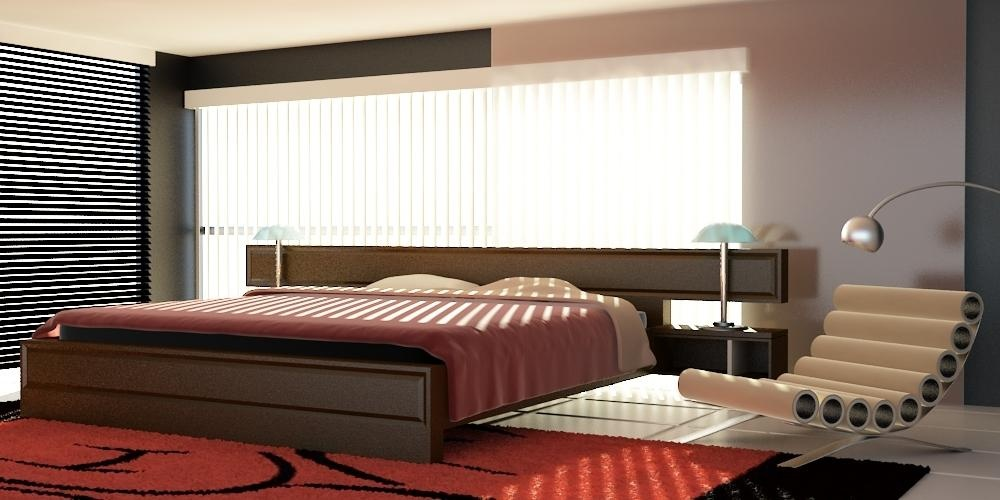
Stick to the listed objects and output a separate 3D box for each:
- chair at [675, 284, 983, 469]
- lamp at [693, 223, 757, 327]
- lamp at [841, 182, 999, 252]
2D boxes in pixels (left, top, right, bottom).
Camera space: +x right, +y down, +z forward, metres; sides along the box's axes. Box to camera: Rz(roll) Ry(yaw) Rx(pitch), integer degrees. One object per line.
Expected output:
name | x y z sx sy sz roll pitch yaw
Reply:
chair | 2.815 0.903 5.400 2.227 1.116 1.415 -1 0 -29
lamp | 2.313 0.277 6.783 0.775 1.021 0.773 -5 -10 39
lamp | 3.739 -0.254 5.765 0.993 0.706 2.100 5 7 35
